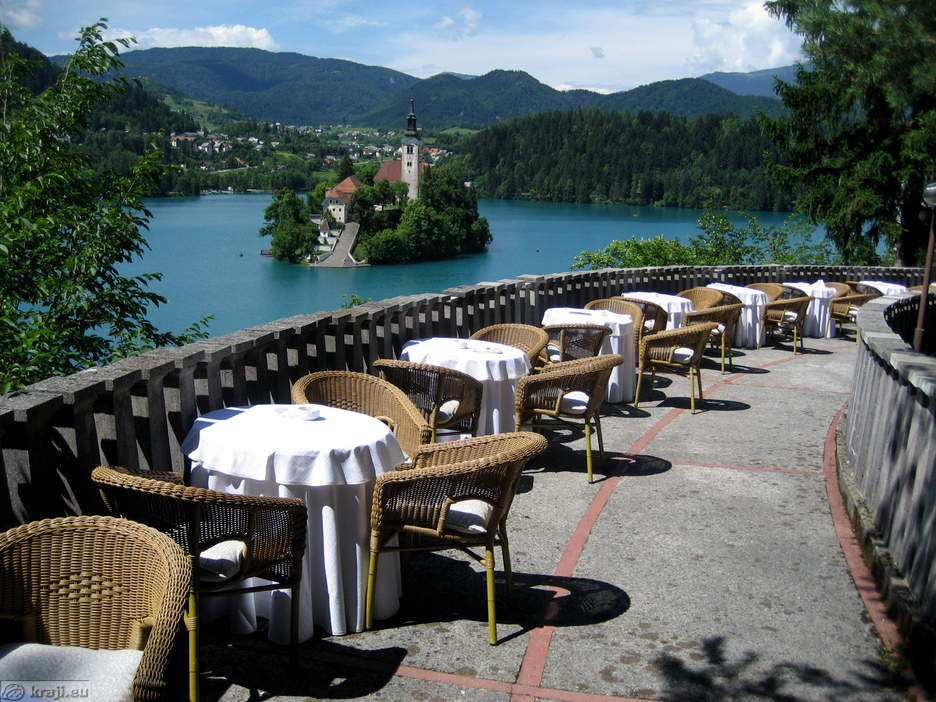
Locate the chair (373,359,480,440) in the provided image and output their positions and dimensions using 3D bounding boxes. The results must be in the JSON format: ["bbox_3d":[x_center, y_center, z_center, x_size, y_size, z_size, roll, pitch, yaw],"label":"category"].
[{"bbox_3d":[-0.351,0.254,5.686,0.587,0.792,0.686,-11,18,-36],"label":"chair"}]

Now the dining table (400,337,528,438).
[{"bbox_3d":[0.083,0.197,6.298,0.767,0.630,0.808,6,6,10],"label":"dining table"}]

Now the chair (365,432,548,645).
[{"bbox_3d":[0.013,1.009,4.299,0.923,1.173,1.013,2,-1,7],"label":"chair"}]

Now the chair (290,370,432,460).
[{"bbox_3d":[-0.677,0.381,4.842,0.563,0.673,0.693,-14,25,-37],"label":"chair"}]

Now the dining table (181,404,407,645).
[{"bbox_3d":[-0.842,0.813,4.209,1.019,1.043,1.075,11,15,38],"label":"dining table"}]
